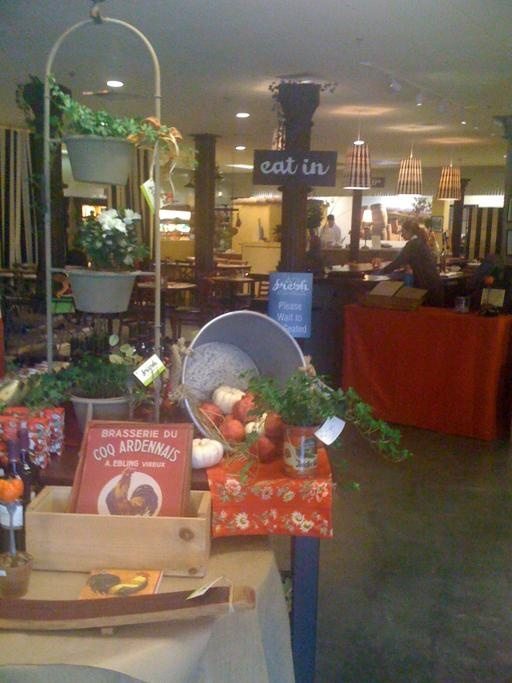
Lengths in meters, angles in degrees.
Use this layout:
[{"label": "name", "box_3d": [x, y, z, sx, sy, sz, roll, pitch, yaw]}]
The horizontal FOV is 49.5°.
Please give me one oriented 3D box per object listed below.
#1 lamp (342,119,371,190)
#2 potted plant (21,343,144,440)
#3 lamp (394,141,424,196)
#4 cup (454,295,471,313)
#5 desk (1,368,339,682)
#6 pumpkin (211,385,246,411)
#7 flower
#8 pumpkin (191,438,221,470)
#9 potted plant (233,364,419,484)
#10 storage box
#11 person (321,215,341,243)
[{"label": "lamp", "box_3d": [1.323, -2.287, 7.183, 0.301, 0.587, 0.323, 3, 12, 7]}, {"label": "potted plant", "box_3d": [-0.432, 0.158, 1.629, 0.268, 0.178, 0.230, -9, 9, -8]}, {"label": "lamp", "box_3d": [2.204, -2.359, 7.914, 0.313, 0.504, 0.335, 4, 12, 14]}, {"label": "cup", "box_3d": [1.503, -0.271, 4.089, 0.148, 0.132, 0.096, -7, 7, -38]}, {"label": "desk", "box_3d": [-0.154, 0.451, 1.514, 0.717, 0.492, 0.685, 0, 16, 4]}, {"label": "pumpkin", "box_3d": [-0.075, 0.159, 1.548, 0.072, 0.065, 0.068, 15, 54, 6]}, {"label": "flower", "box_3d": [-0.439, -0.313, 1.701, 0.215, 0.188, 0.230, -1, 12, -12]}, {"label": "pumpkin", "box_3d": [-0.121, 0.274, 1.360, 0.076, 0.055, 0.073, 0, 3, 14]}, {"label": "potted plant", "box_3d": [0.171, 0.195, 1.344, 0.441, 0.224, 0.200, -3, -11, 38]}, {"label": "storage box", "box_3d": [-0.279, 0.393, 1.172, 0.364, 0.106, 0.194, 2, -1, 3]}, {"label": "person", "box_3d": [1.635, -2.346, 11.683, 0.414, 0.633, 0.731, -1, 12, -13]}]
